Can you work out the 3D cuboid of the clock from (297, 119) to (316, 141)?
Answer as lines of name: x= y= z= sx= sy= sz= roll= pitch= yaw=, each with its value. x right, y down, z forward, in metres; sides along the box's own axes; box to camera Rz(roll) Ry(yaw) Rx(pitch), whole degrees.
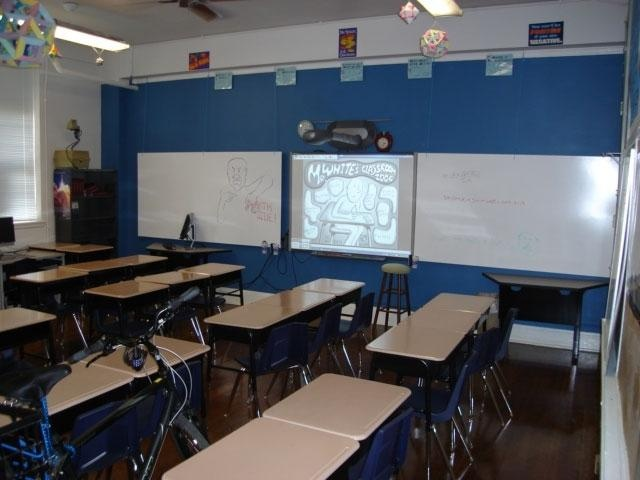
clock: x=-0.189 y=-1.554 z=6.808 sx=0.244 sy=0.319 sz=0.618 roll=0 pitch=11 yaw=-4

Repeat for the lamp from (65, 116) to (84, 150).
lamp: x=-4.107 y=-1.774 z=7.993 sx=0.255 sy=0.518 sz=0.440 roll=-4 pitch=12 yaw=-25

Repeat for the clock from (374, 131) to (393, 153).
clock: x=0.869 y=-1.326 z=6.518 sx=0.237 sy=0.271 sz=0.143 roll=2 pitch=11 yaw=6

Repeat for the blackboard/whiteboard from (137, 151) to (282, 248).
blackboard/whiteboard: x=-1.693 y=-0.670 z=7.679 sx=2.435 sy=1.478 sz=0.446 roll=4 pitch=11 yaw=16
